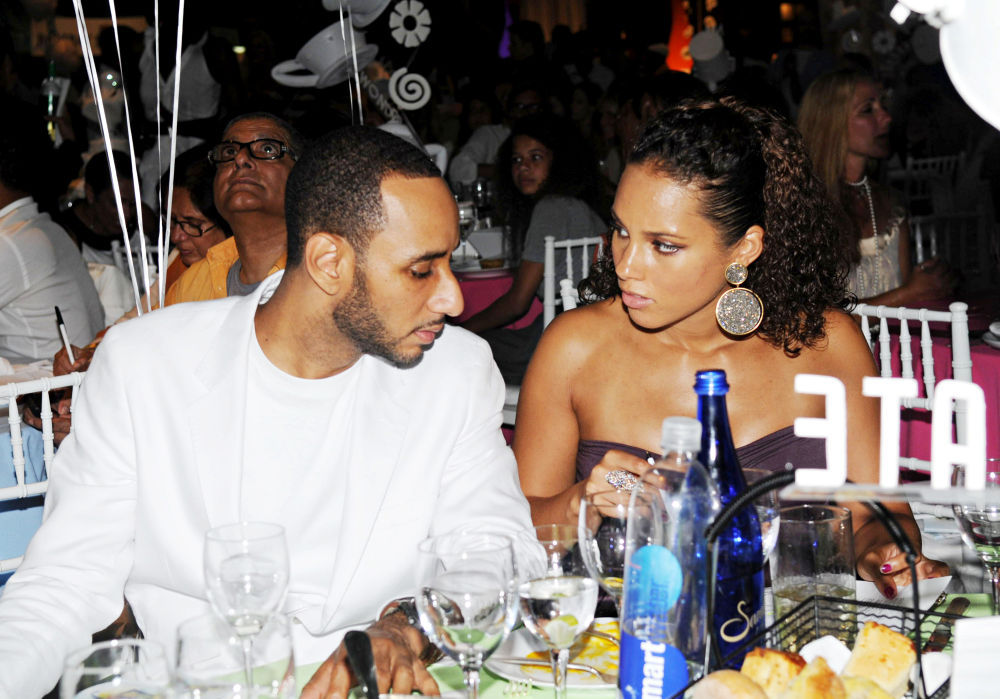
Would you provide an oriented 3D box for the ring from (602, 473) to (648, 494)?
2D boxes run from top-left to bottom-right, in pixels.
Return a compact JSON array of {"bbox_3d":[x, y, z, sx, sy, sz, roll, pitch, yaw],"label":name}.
[{"bbox_3d":[0.271,0.285,2.004,0.085,0.050,0.025,5,-9,1],"label":"ring"}]

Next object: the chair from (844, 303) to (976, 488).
[{"bbox_3d":[1.529,0.125,3.351,0.414,0.599,0.408,-1,19,42],"label":"chair"}]

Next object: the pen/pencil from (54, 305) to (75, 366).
[{"bbox_3d":[-1.673,-0.057,3.543,0.029,0.263,0.029,-11,-4,-2],"label":"pen/pencil"}]
